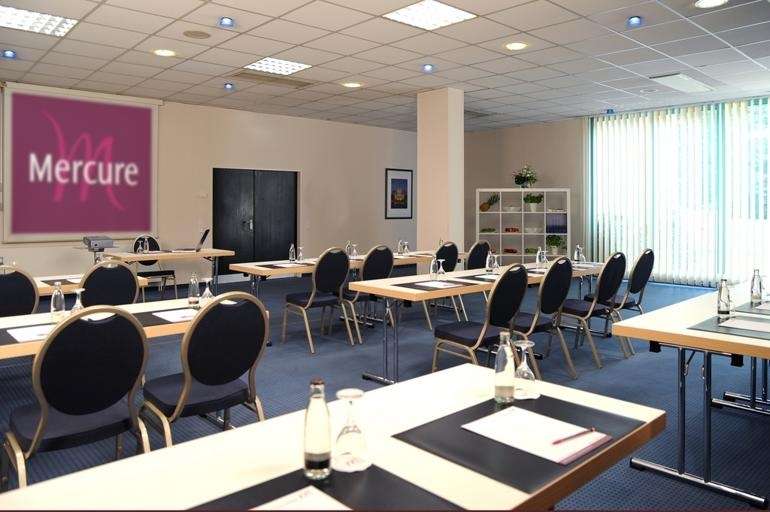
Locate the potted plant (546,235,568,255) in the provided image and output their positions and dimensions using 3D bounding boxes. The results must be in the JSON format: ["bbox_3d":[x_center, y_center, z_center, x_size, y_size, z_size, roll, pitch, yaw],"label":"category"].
[{"bbox_3d":[3.918,-0.257,10.678,0.548,0.523,0.481,-1,2,-44],"label":"potted plant"}]

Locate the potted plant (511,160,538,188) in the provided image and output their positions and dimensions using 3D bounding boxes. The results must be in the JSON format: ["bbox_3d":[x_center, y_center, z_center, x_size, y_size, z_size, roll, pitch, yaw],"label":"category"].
[{"bbox_3d":[3.269,-1.899,11.037,0.629,0.671,0.675,2,10,13],"label":"potted plant"}]

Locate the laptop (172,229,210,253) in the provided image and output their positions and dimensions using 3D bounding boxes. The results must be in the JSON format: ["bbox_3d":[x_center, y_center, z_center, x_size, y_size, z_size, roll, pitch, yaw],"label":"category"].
[{"bbox_3d":[-3.724,-0.292,8.937,0.524,0.319,0.534,1,0,-4],"label":"laptop"}]

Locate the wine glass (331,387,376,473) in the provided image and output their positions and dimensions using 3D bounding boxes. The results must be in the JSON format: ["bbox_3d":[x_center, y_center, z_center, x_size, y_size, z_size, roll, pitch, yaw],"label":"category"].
[{"bbox_3d":[-0.124,0.556,1.731,0.133,0.241,0.417,-2,9,-4],"label":"wine glass"}]

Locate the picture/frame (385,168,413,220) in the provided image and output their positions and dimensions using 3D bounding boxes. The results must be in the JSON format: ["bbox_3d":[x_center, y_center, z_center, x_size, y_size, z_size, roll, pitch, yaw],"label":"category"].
[{"bbox_3d":[0.389,-1.611,12.446,1.006,1.294,0.159,-9,12,-40],"label":"picture/frame"}]

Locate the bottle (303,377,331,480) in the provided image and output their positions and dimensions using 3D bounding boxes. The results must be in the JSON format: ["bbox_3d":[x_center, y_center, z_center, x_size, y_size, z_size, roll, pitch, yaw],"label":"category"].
[{"bbox_3d":[-0.234,0.556,1.590,0.094,0.285,0.212,-2,9,-8],"label":"bottle"}]

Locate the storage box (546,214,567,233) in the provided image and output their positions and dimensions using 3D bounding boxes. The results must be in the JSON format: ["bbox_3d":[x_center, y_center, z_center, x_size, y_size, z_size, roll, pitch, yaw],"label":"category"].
[{"bbox_3d":[3.863,-0.717,10.655,0.389,0.509,0.548,2,3,35],"label":"storage box"}]

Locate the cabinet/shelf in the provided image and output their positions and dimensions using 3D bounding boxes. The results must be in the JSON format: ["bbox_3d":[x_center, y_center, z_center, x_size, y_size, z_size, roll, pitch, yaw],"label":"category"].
[{"bbox_3d":[3.226,-0.461,11.064,2.137,2.003,0.662,1,-7,13],"label":"cabinet/shelf"}]

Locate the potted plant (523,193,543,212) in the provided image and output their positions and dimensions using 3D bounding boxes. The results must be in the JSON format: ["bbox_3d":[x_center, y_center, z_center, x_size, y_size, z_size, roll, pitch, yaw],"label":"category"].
[{"bbox_3d":[3.428,-1.241,10.961,0.507,0.427,0.502,0,-3,10],"label":"potted plant"}]
